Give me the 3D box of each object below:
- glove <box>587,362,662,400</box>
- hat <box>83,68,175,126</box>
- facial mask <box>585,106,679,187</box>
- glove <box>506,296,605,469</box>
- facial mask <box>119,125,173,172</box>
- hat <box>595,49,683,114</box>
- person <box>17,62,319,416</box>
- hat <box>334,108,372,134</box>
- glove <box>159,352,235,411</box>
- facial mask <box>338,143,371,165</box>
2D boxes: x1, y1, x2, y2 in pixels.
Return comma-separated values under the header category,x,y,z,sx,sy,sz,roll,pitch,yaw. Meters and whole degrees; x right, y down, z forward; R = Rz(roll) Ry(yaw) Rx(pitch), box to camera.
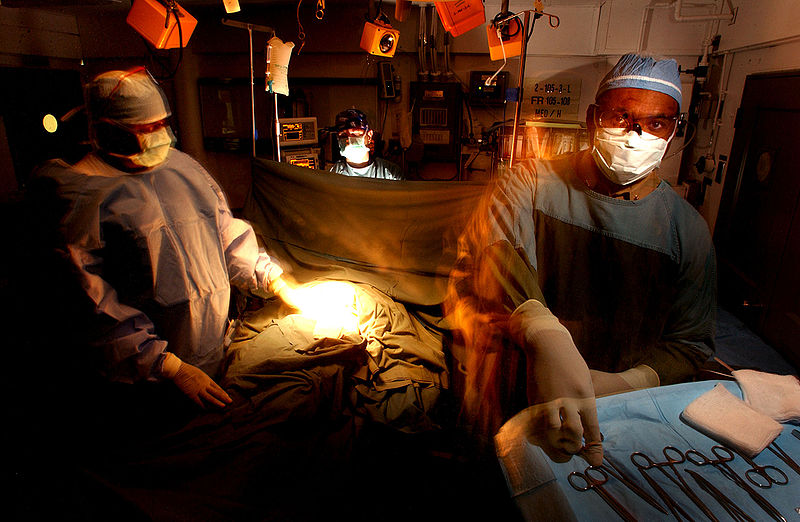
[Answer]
category,x,y,z,sx,sy,sz,roll,pitch,yaw
glove,0.894,0.507,2.420,0.450,0.164,0.118,1,-16,-19
hat,-1.189,-0.712,2.519,0.339,0.256,0.328,-2,18,16
facial mask,1.045,-0.559,2.506,0.393,0.303,0.461,11,35,22
glove,0.629,0.443,2.298,0.374,0.638,0.189,-12,-3,9
facial mask,-1.088,-0.499,2.505,0.181,0.149,0.186,1,32,2
hat,1.050,-0.726,2.444,0.353,0.222,0.366,11,-12,23
person,-1.024,0.025,2.723,0.941,1.762,1.048,21,32,39
hat,-0.378,-1.146,4.597,0.280,0.158,0.268,-1,23,-7
glove,-0.959,0.588,2.658,0.346,0.105,0.172,43,48,-6
facial mask,-0.368,-0.894,4.681,0.238,0.206,0.213,-1,22,-5
